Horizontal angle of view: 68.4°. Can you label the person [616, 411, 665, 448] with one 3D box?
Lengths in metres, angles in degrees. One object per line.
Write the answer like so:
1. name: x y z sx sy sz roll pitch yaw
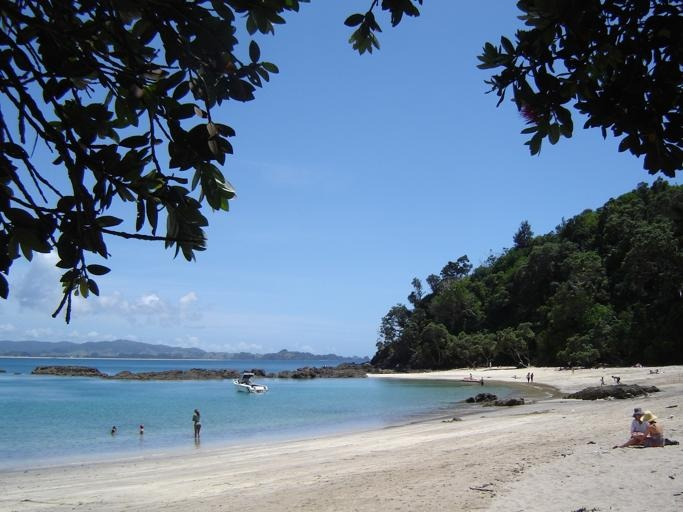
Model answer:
1. person: 7.682 4.455 12.994 1.149 0.914 0.536 2 5 -6
